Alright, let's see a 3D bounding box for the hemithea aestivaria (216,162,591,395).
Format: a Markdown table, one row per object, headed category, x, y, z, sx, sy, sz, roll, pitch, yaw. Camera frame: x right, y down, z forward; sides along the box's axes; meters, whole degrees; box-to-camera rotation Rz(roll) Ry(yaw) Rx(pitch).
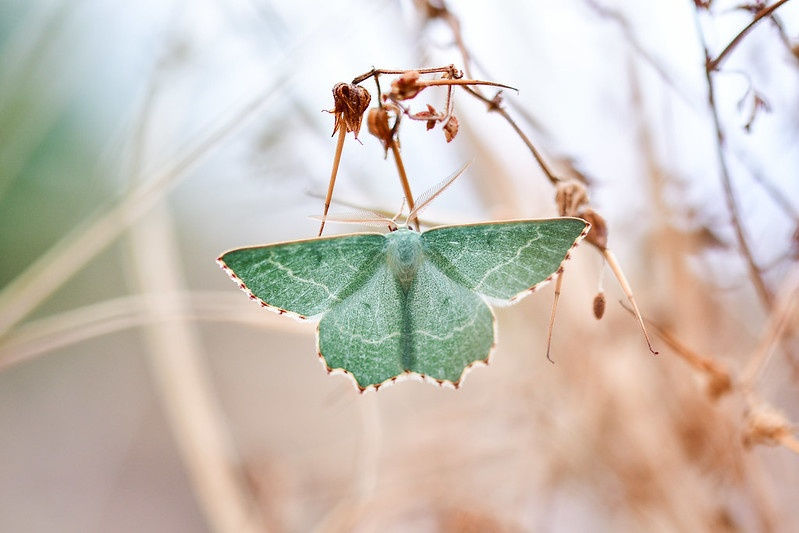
| category | x | y | z | sx | sy | sz | roll | pitch | yaw |
| --- | --- | --- | --- | --- | --- | --- | --- | --- | --- |
| hemithea aestivaria | 0.018 | 0.079 | 1.533 | 0.630 | 0.084 | 0.293 | -6 | -76 | -3 |
